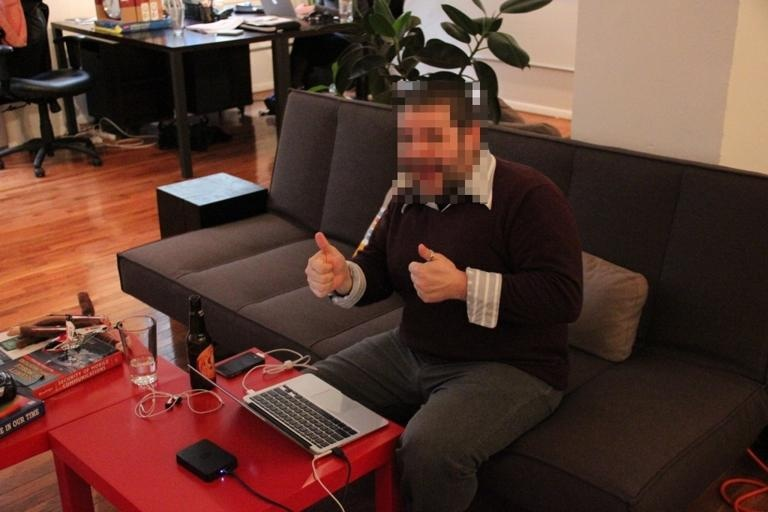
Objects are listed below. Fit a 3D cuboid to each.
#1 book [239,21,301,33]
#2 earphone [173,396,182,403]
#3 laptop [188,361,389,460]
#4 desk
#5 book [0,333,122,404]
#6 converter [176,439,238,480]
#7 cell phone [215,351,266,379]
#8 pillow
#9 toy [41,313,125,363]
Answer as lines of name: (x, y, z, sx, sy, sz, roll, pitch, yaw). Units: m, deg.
book: (-0.926, -1.924, 4.883, 0.250, 0.062, 0.250, 15, 23, 40)
earphone: (-0.631, 0.439, 1.756, 0.012, 0.009, 0.020, 5, 29, 19)
laptop: (-0.219, 0.458, 1.701, 0.347, 0.201, 0.317, 27, 36, 29)
desk: (-1.432, -1.686, 5.113, 1.948, 0.926, 1.992, 20, 31, 38)
book: (-1.048, 0.356, 1.884, 0.233, 0.048, 0.213, 16, 27, 40)
converter: (-0.474, 0.550, 1.543, 0.164, 0.037, 0.090, 16, 29, 33)
cell phone: (-0.478, 0.356, 1.900, 0.069, 0.014, 0.116, 18, 27, 40)
pillow: (0.790, 0.194, 1.998, 0.149, 0.229, 0.330, -25, 33, -29)
toy: (-1.035, 0.271, 1.997, 0.163, 0.100, 0.199, 25, 44, 28)
